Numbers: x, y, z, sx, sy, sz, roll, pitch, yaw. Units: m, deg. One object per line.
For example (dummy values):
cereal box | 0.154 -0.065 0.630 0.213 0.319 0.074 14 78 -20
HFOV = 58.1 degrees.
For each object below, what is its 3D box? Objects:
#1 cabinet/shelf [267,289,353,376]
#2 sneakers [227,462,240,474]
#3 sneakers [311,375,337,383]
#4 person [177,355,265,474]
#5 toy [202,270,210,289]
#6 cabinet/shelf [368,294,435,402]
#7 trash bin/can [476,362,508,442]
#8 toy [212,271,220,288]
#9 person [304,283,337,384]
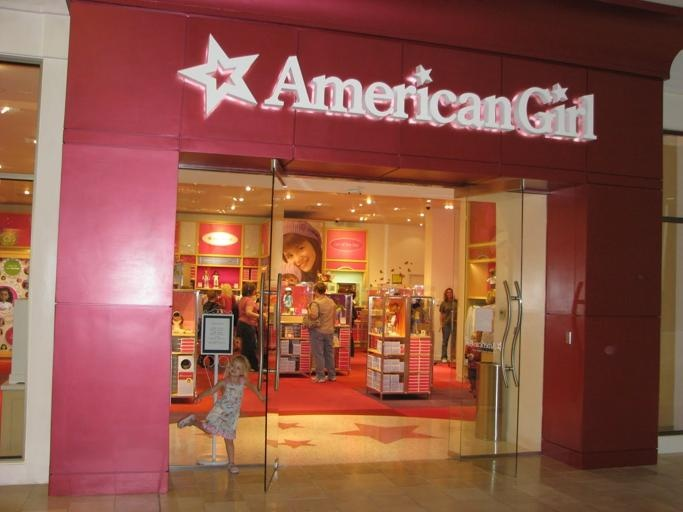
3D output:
cabinet/shelf | -0.773 1.485 12.745 1.831 1.748 0.977 4 1 -26
sneakers | -1.116 2.160 6.308 0.058 0.061 0.161 4 -8 -28
sneakers | -0.335 2.297 11.502 0.469 0.216 0.174 4 -5 -13
person | -1.220 1.602 6.232 0.684 1.170 0.460 2 -1 -13
toy | -3.292 0.539 14.870 0.152 0.416 0.235 2 -1 -15
cabinet/shelf | 0.961 1.477 10.376 1.100 1.715 0.780 2 -1 7
trash bin/can | 1.655 1.607 6.842 0.332 0.858 0.169 1 -2 14
toy | -3.059 0.572 14.904 0.153 0.384 0.299 2 -1 -12
person | -0.410 1.411 11.534 0.434 1.831 0.770 0 -2 43
